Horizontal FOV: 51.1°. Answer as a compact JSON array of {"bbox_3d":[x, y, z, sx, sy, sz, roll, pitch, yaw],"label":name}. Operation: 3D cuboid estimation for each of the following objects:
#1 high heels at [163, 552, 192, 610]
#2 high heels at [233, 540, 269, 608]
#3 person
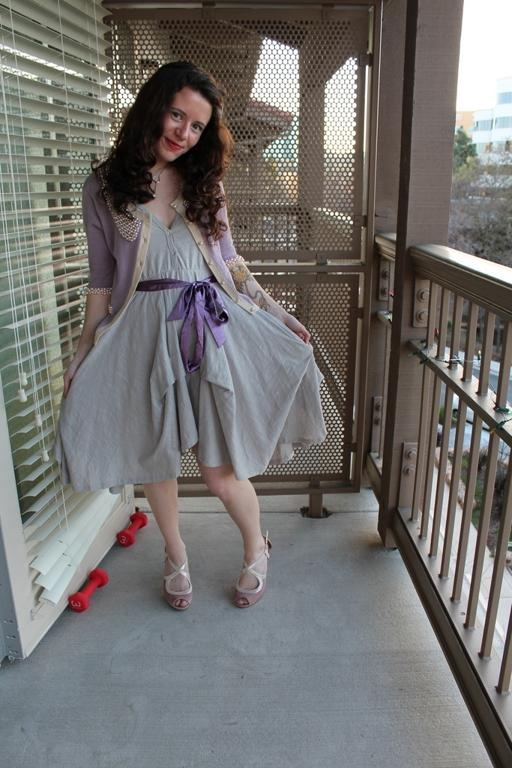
[{"bbox_3d":[-0.243,0.609,1.652,0.056,0.069,0.180,-1,14,-8],"label":"high heels"},{"bbox_3d":[-0.004,0.577,1.703,0.083,0.073,0.264,5,36,15],"label":"high heels"},{"bbox_3d":[-0.179,-0.091,1.447,0.665,1.455,0.420,-3,5,-12],"label":"person"}]
